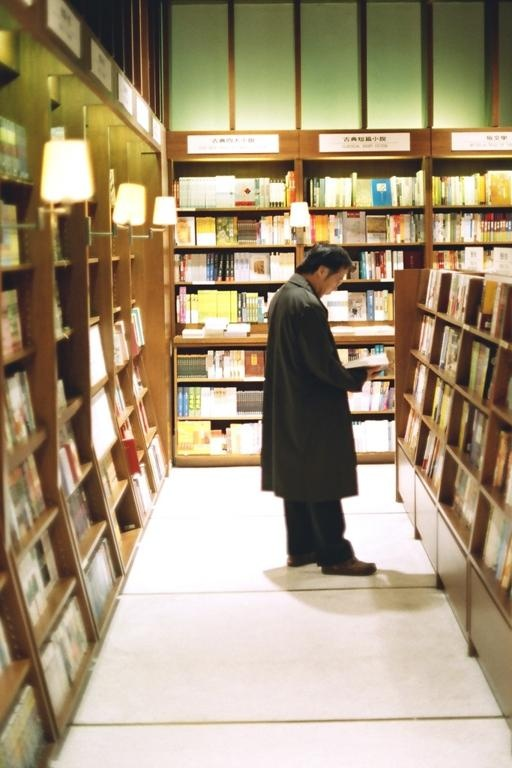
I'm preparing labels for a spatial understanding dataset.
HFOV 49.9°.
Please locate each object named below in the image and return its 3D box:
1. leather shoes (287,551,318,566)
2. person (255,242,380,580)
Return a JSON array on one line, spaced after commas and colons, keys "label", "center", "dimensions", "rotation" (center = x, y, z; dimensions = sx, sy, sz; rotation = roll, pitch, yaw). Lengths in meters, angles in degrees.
[{"label": "leather shoes", "center": [0.249, 0.950, 3.009], "dimensions": [0.178, 0.110, 0.070], "rotation": [3, -4, -23]}, {"label": "person", "center": [0.289, 0.162, 2.711], "dimensions": [0.556, 1.661, 0.503], "rotation": [0, 1, 12]}]
